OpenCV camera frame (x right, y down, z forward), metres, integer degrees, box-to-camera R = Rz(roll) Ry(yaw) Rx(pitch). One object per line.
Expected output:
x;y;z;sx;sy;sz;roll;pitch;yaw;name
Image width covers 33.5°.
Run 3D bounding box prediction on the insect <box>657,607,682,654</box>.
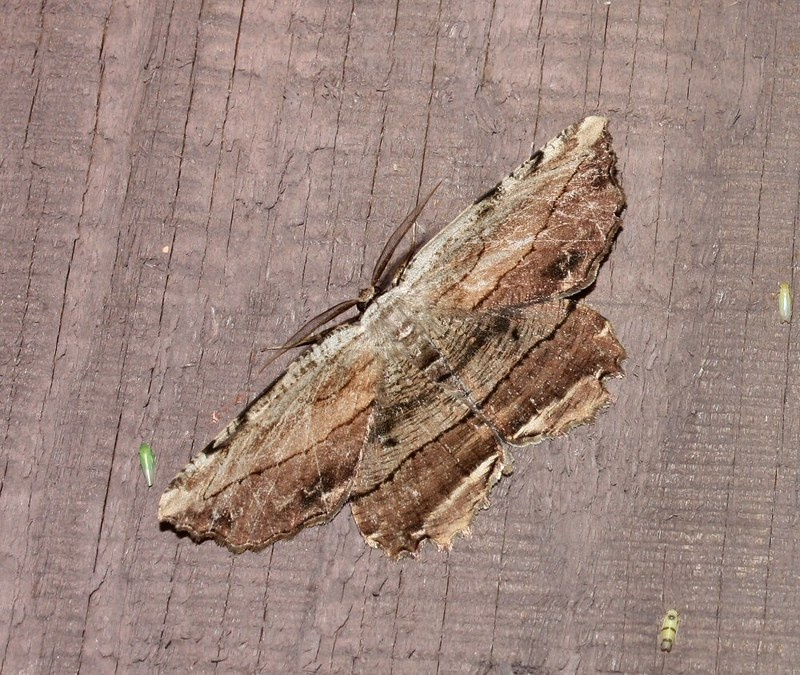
1.501;1.632;7.373;0.091;0.084;0.240;10;82;10;insect
